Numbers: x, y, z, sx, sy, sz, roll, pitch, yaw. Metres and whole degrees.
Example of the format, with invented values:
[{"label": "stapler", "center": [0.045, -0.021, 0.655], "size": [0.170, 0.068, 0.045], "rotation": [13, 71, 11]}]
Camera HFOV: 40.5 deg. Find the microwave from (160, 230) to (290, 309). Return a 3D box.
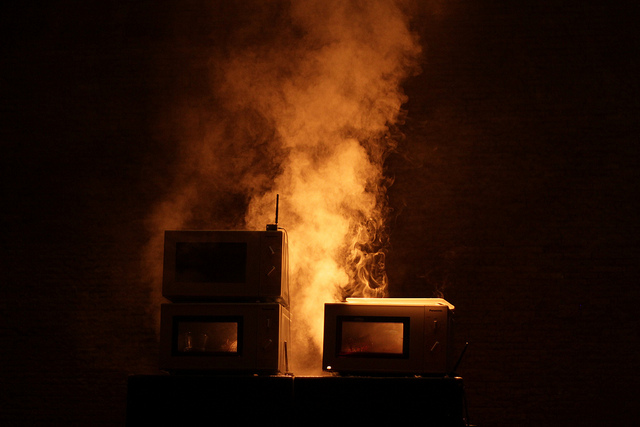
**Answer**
[{"label": "microwave", "center": [-0.958, 0.557, 9.167], "size": [1.160, 0.733, 0.830], "rotation": [0, -11, 5]}]
